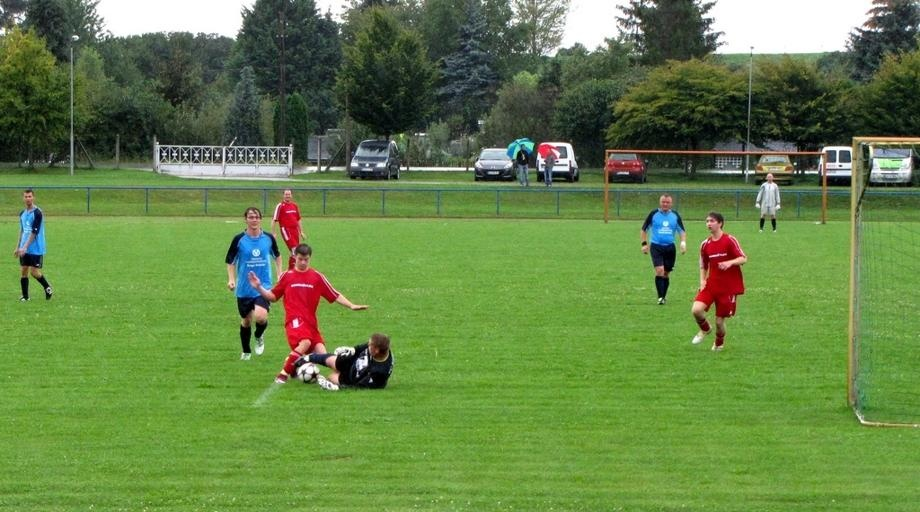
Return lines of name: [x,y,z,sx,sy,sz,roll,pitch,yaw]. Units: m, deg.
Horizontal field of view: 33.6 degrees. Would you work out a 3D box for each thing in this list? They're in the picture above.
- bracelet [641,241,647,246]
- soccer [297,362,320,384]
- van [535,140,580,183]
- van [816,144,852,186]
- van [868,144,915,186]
bracelet: [8.997,-0.643,74.593,0.252,0.175,0.240,1,-4,-4]
soccer: [-6.843,5.397,69.809,1.001,0.875,0.907,-6,-15,21]
van: [6.402,-6.271,100.872,2.091,1.707,3.601,2,14,12]
van: [25.345,-6.124,102.728,1.696,2.538,2.959,1,4,19]
van: [21.337,-4.553,75.225,2.318,1.417,4.391,4,14,19]
